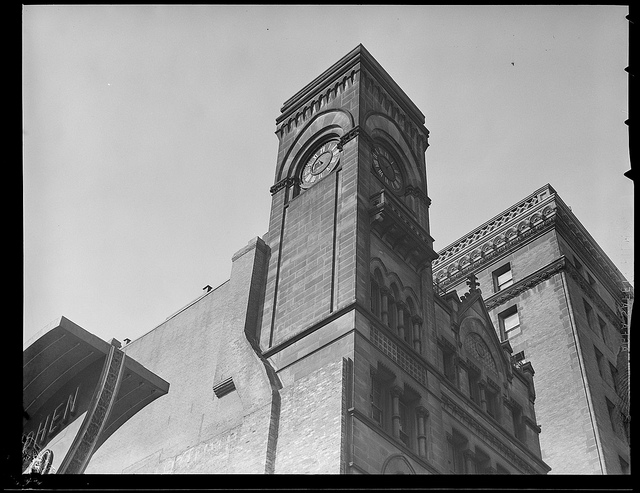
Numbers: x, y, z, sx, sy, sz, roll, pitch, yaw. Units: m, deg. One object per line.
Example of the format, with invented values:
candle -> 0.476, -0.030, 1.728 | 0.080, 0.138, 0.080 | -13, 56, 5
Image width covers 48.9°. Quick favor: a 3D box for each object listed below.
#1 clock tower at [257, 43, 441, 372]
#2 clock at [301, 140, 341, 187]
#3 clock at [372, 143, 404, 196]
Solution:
clock tower -> 1.111, -2.297, 28.903 | 6.470, 14.215, 4.704 | 5, -50, -1
clock -> 0.102, -3.405, 29.674 | 0.113, 1.960, 1.896 | 35, -40, -29
clock -> 2.841, -3.178, 29.906 | 0.099, 2.181, 2.151 | -25, -31, 26
